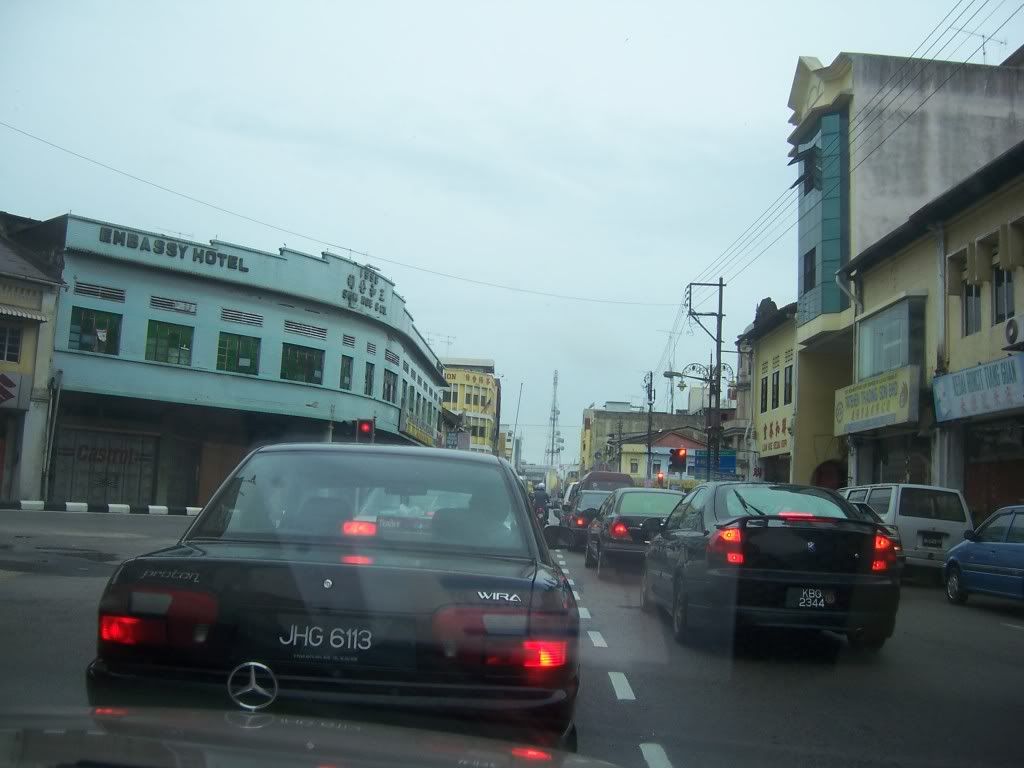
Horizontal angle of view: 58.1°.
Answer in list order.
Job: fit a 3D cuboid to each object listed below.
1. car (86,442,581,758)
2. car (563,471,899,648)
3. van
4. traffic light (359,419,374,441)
[{"bbox_3d":[-0.730,0.960,5.007,1.299,1.060,2.471,0,-6,3],"label":"car"},{"bbox_3d":[2.617,1.871,9.553,2.538,1.705,1.786,0,-6,31],"label":"car"},{"bbox_3d":[7.979,2.884,19.324,1.805,1.871,3.570,0,-3,-1],"label":"van"},{"bbox_3d":[-4.476,1.411,28.168,0.562,0.639,0.311,1,-6,-2],"label":"traffic light"}]
